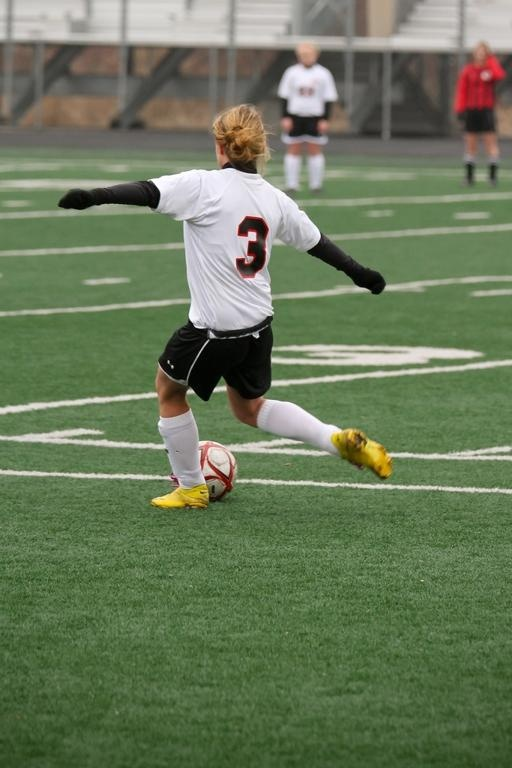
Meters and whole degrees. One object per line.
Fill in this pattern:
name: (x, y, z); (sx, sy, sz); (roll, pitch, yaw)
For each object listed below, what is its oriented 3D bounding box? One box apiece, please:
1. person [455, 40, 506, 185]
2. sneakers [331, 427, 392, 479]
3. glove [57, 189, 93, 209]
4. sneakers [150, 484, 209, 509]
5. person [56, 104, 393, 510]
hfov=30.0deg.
person: (2.186, -2.688, 9.530); (0.458, 1.229, 1.097); (3, 9, 12)
sneakers: (0.406, 0.282, 3.771); (0.277, 0.118, 0.149); (30, -24, -2)
glove: (-0.613, -0.619, 3.266); (0.080, 0.042, 0.100); (-2, -4, -43)
sneakers: (-0.318, 0.486, 4.080); (0.245, 0.091, 0.098); (2, -2, 2)
person: (-0.031, -0.350, 3.696); (1.151, 1.427, 0.657); (0, 10, -9)
